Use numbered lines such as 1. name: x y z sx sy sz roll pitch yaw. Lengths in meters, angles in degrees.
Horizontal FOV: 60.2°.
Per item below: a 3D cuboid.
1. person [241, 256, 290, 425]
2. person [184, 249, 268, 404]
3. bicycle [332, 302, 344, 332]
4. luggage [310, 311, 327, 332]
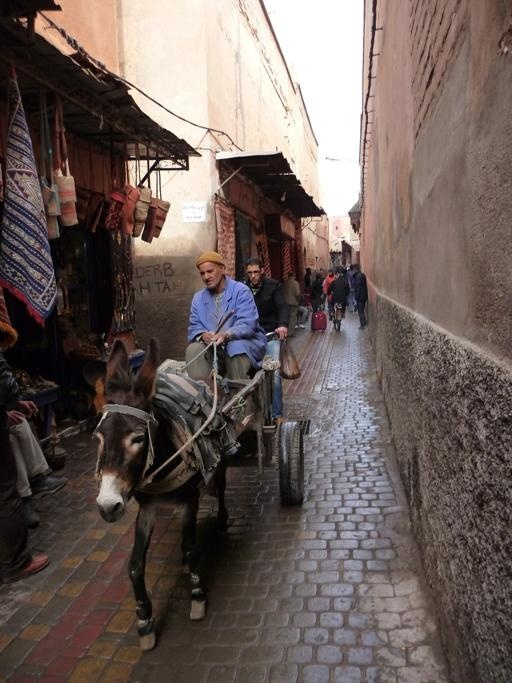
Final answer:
1. person: 0.089 -0.052 6.018 0.529 2.193 1.064 -3 12 1
2. person: -0.297 -0.151 4.021 0.458 1.522 0.578 0 2 8
3. bicycle: 3.150 -0.912 16.812 0.411 1.087 0.717 -3 2 11
4. luggage: 2.370 -0.780 16.957 0.666 0.712 1.161 2 6 -12
